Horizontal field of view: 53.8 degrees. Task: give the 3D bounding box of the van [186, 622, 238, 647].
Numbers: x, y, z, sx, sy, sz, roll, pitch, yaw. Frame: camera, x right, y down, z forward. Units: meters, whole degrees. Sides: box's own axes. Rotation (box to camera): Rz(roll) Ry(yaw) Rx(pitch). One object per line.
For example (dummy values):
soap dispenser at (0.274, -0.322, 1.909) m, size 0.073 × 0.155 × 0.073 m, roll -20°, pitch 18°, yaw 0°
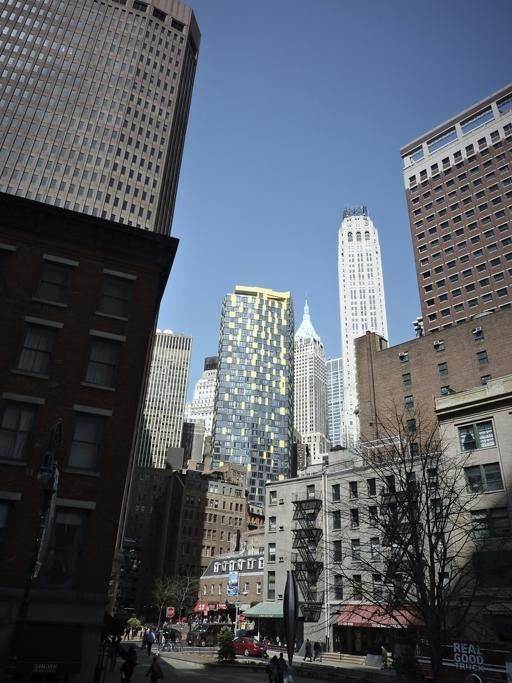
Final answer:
van at (-5.013, 28.829, 49.795) m, size 2.869 × 1.830 × 4.634 m, roll 3°, pitch -26°, yaw 2°
